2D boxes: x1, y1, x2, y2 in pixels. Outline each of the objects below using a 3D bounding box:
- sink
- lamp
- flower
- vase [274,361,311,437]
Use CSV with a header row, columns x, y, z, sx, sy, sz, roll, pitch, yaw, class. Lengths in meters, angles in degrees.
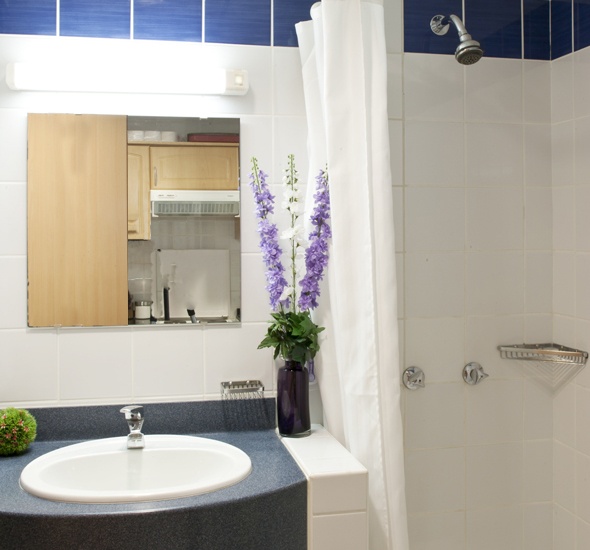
x,y,z,sx,sy,sz,roll,pitch,yaw,class
-0.406,0.539,1.798,0.589,0.126,0.382,-2,1,-4,sink
-0.506,-0.570,2.050,0.614,0.103,0.068,-3,9,-10,lamp
0.002,-0.026,2.058,0.241,0.599,0.212,-1,1,7,flower
0.007,0.365,2.031,0.121,0.224,0.092,-2,1,-23,vase
